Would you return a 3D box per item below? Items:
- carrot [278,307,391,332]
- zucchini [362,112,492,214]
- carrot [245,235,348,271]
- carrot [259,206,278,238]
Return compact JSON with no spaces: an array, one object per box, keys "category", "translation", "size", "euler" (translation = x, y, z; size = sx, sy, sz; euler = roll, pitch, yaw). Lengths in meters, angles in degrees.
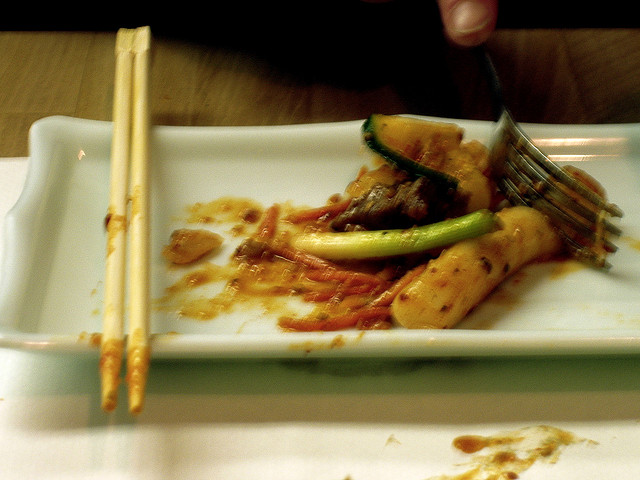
[{"category":"carrot","translation":[0.041,0.223,1.855],"size":[0.314,0.065,0.051],"euler":[2,21,-6]},{"category":"zucchini","translation":[0.334,-0.279,2.064],"size":[0.343,0.282,0.415],"euler":[-10,30,-21]},{"category":"carrot","translation":[-0.063,0.043,1.988],"size":[0.247,0.042,0.028],"euler":[17,-19,6]},{"category":"carrot","translation":[-0.160,-0.055,2.076],"size":[0.037,0.027,0.100],"euler":[15,40,3]}]
